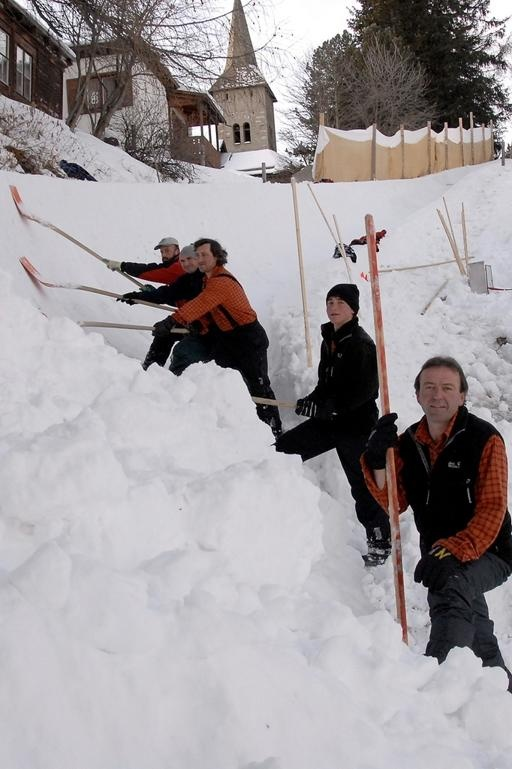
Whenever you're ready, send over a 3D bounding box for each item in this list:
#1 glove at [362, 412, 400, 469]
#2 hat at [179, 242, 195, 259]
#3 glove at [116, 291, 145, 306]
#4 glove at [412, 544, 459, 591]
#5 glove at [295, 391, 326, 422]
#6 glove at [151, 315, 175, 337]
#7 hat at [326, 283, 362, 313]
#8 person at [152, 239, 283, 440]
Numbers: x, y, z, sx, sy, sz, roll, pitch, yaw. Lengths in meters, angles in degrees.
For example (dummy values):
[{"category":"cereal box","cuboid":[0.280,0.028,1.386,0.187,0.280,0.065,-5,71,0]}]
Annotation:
[{"category":"glove","cuboid":[0.463,0.212,2.732,0.069,0.191,0.153,18,17,8]},{"category":"hat","cuboid":[-0.506,-0.989,5.444,0.121,0.096,0.086,-36,12,-4]},{"category":"glove","cuboid":[-0.966,-0.653,5.616,0.194,0.098,0.292,5,17,-13]},{"category":"glove","cuboid":[0.600,0.604,2.445,0.043,0.136,0.137,40,4,-27]},{"category":"glove","cuboid":[0.306,0.106,4.060,0.151,0.141,0.063,-11,-33,25]},{"category":"glove","cuboid":[-0.587,-0.375,4.697,0.155,0.100,0.061,-37,13,7]},{"category":"hat","cuboid":[0.479,-0.476,4.012,0.158,0.140,0.164,16,-10,-37]},{"category":"person","cuboid":[-0.230,-0.293,4.887,0.835,1.300,0.669,-1,15,-10]}]
